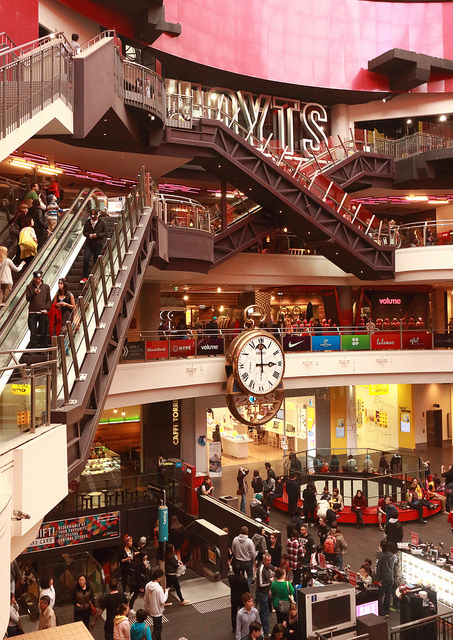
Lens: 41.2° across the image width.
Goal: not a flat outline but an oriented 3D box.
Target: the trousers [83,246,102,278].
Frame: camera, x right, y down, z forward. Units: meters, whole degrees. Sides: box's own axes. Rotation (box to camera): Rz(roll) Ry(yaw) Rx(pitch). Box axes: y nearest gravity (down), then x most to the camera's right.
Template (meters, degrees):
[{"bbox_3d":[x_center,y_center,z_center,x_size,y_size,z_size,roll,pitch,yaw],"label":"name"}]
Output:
[{"bbox_3d":[-2.465,-1.032,10.984,0.306,0.668,0.744,3,-5,-14],"label":"trousers"}]

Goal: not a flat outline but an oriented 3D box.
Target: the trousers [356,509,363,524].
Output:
[{"bbox_3d":[3.766,5.567,17.161,0.115,0.463,0.443,-4,7,-3],"label":"trousers"}]

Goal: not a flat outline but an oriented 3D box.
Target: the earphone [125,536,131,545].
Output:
[{"bbox_3d":[-2.038,4.467,12.236,0.100,0.134,0.058,-3,-4,7],"label":"earphone"}]

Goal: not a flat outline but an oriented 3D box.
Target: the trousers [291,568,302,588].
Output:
[{"bbox_3d":[1.373,5.026,11.885,0.186,0.357,0.169,1,-5,6],"label":"trousers"}]

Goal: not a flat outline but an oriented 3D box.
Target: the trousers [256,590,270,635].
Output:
[{"bbox_3d":[0.624,5.180,10.666,0.245,0.729,0.357,1,-5,10],"label":"trousers"}]

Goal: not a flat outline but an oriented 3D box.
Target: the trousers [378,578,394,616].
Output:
[{"bbox_3d":[3.035,5.262,11.512,0.280,0.699,0.720,0,-5,14],"label":"trousers"}]

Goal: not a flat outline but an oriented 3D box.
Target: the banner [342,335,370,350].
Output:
[{"bbox_3d":[4.381,0.754,20.478,1.244,0.506,0.145,4,-6,-29],"label":"banner"}]

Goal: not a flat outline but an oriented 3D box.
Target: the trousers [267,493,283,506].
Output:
[{"bbox_3d":[1.453,5.503,18.532,0.428,0.459,0.770,1,-5,6],"label":"trousers"}]

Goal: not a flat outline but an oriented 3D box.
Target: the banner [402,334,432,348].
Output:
[{"bbox_3d":[6.659,0.746,21.135,1.211,0.485,0.193,3,-5,-18],"label":"banner"}]

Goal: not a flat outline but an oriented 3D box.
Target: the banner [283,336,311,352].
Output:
[{"bbox_3d":[2.278,0.781,19.416,1.252,0.544,0.246,6,-7,-44],"label":"banner"}]

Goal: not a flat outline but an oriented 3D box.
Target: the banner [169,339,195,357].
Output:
[{"bbox_3d":[-1.238,0.788,16.766,0.236,0.520,1.051,-2,-6,31],"label":"banner"}]

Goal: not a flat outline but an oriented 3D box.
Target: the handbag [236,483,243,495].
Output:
[{"bbox_3d":[0.395,5.119,18.129,0.189,0.364,0.208,5,-7,-19],"label":"handbag"}]

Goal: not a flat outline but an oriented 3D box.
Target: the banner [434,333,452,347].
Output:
[{"bbox_3d":[7.624,0.724,21.222,0.502,0.490,0.122,-5,4,15],"label":"banner"}]

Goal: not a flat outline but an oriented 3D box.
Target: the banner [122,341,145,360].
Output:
[{"bbox_3d":[-2.374,0.766,15.214,0.223,0.489,0.924,-1,-5,24],"label":"banner"}]

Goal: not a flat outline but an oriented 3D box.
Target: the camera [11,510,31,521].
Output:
[{"bbox_3d":[-1.764,1.657,5.145,0.076,0.093,0.198,0,-5,13],"label":"camera"}]

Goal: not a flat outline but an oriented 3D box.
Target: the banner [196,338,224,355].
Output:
[{"bbox_3d":[-0.495,0.775,17.648,0.241,0.517,1.231,-2,-6,32],"label":"banner"}]

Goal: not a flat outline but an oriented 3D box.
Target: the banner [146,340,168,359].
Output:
[{"bbox_3d":[-1.881,0.787,15.967,0.264,0.514,0.959,0,-5,21],"label":"banner"}]

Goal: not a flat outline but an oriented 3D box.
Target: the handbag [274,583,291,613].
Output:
[{"bbox_3d":[0.949,4.675,10.056,0.296,0.292,0.182,-1,0,30],"label":"handbag"}]

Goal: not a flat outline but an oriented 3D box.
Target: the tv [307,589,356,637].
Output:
[{"bbox_3d":[1.650,4.574,9.506,0.986,0.644,0.067,4,-6,-30],"label":"tv"}]

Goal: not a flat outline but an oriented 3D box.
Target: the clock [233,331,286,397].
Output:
[{"bbox_3d":[0.930,1.288,17.471,1.742,1.876,0.504,6,-7,-44],"label":"clock"}]

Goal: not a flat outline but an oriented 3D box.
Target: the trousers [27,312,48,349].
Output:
[{"bbox_3d":[-2.708,0.159,8.622,0.283,0.488,0.246,3,-5,-18],"label":"trousers"}]

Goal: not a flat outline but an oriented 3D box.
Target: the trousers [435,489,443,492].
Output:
[{"bbox_3d":[6.619,5.299,18.819,0.238,0.084,0.090,-2,-6,36],"label":"trousers"}]

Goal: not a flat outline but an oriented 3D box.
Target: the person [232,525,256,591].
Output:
[{"bbox_3d":[0.326,4.600,11.658,0.426,1.259,1.122,1,-5,1],"label":"person"}]

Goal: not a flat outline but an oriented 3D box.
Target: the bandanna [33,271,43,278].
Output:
[{"bbox_3d":[-2.796,-0.664,8.889,0.152,0.058,0.158,0,-1,5],"label":"bandanna"}]
